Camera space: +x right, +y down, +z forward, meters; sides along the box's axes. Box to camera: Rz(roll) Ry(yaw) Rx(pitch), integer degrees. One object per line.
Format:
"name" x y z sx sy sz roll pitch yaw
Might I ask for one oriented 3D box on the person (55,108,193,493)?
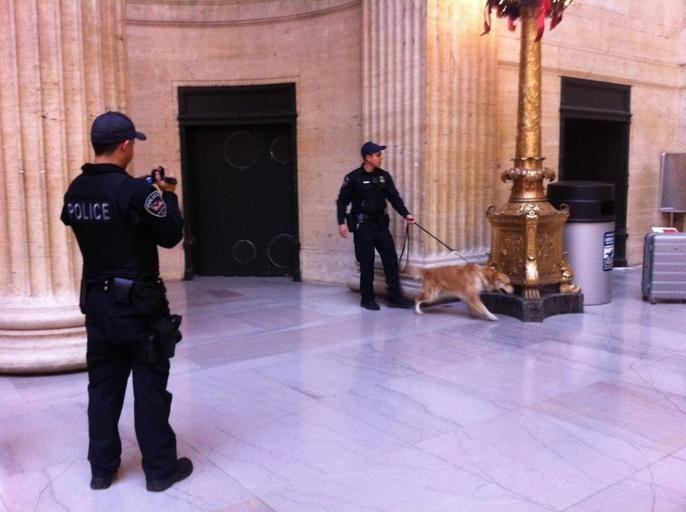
"person" -1.387 0.460 4.209 0.732 2.098 0.541 -3 12 -11

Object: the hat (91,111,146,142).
"hat" -1.478 -0.819 4.238 0.306 0.173 0.222 -17 30 -37

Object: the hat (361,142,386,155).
"hat" 0.384 -1.365 8.145 0.269 0.136 0.180 -7 18 9

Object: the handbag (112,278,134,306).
"handbag" -1.407 0.227 4.150 0.151 0.180 0.142 3 14 -28

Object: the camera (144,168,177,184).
"camera" -1.190 -0.517 4.232 0.168 0.060 0.122 15 26 1

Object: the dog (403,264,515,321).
"dog" 1.440 0.394 7.808 1.217 0.677 0.614 3 12 17

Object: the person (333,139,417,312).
"person" 0.383 -0.373 8.230 0.881 2.106 0.430 -1 11 -2

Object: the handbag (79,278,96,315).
"handbag" -1.681 0.268 4.261 0.143 0.202 0.202 -2 -2 -15
